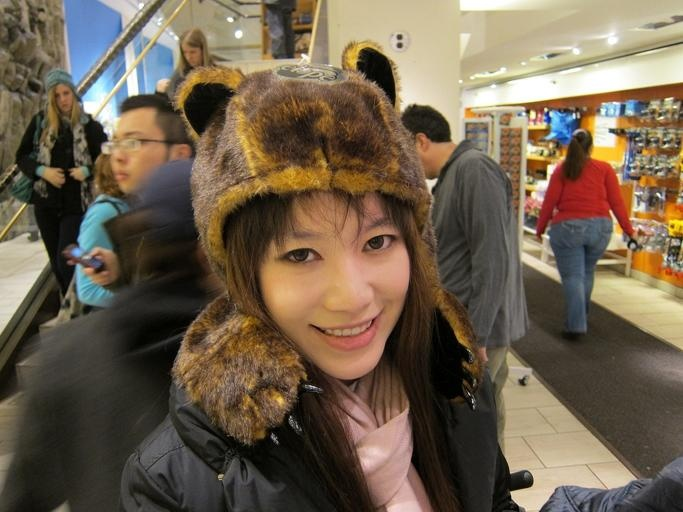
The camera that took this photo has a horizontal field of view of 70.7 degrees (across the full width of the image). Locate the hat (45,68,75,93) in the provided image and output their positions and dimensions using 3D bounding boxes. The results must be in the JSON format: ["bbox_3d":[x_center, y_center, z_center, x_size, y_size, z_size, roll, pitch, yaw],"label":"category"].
[{"bbox_3d":[-2.010,-1.243,3.416,0.186,0.179,0.276,-10,14,-29],"label":"hat"}]

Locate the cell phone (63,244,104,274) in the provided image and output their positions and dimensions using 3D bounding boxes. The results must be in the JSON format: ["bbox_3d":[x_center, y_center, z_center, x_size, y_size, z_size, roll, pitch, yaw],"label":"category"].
[{"bbox_3d":[-0.857,0.008,1.598,0.197,0.029,0.062,24,63,37],"label":"cell phone"}]

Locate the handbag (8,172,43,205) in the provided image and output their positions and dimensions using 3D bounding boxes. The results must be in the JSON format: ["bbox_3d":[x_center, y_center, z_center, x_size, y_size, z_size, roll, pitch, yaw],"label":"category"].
[{"bbox_3d":[-2.238,-0.468,3.415,0.175,0.137,0.104,28,-6,45],"label":"handbag"}]

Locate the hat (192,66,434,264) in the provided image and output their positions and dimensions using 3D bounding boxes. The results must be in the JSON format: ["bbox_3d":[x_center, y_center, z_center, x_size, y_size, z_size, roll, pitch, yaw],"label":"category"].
[{"bbox_3d":[-0.084,-0.229,1.128,0.483,0.390,0.379,-10,5,0],"label":"hat"}]
